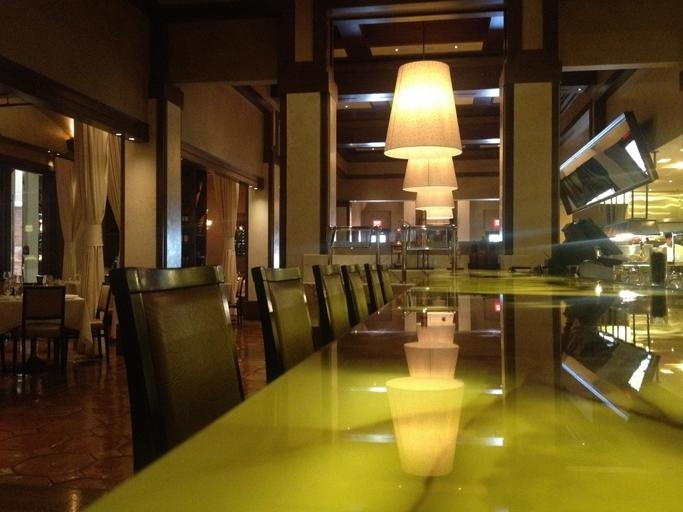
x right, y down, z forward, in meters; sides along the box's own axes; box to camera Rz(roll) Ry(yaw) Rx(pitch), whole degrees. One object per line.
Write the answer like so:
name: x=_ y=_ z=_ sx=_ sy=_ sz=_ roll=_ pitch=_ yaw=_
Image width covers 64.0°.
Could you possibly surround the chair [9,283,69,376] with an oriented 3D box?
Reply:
chair: x=-2.977 y=0.695 z=5.434 sx=0.489 sy=0.801 sz=1.049 roll=0 pitch=-1 yaw=-31
